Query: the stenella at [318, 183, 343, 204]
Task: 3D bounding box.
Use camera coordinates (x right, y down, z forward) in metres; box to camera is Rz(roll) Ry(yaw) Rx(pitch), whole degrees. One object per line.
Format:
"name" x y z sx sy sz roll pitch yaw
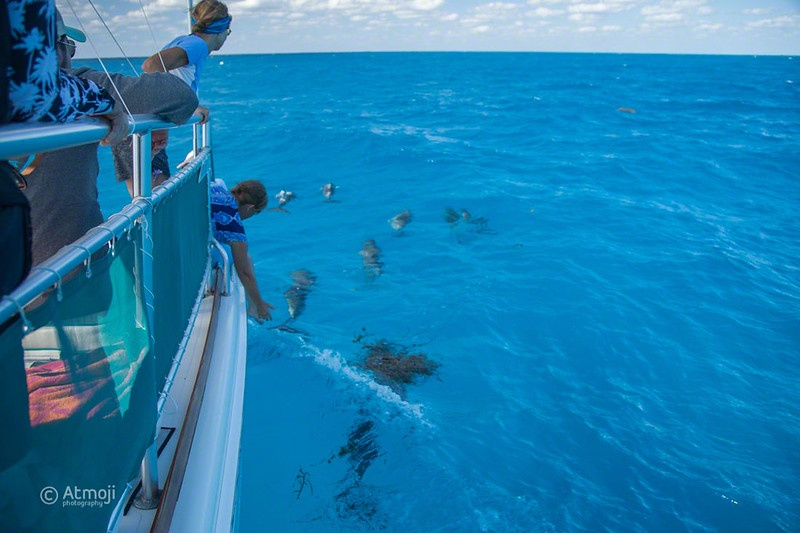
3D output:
"stenella" -2.021 -2.107 16.458 0.485 0.213 0.791 2 28 -3

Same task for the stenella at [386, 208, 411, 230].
"stenella" 0.045 -1.172 14.201 0.387 0.132 0.637 30 47 31

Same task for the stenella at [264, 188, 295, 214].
"stenella" -3.185 -1.788 15.652 0.393 0.647 0.780 -4 28 2

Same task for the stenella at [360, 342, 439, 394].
"stenella" -0.050 1.519 8.452 0.719 0.193 0.691 16 22 29

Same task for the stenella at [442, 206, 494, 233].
"stenella" 1.668 -1.187 14.551 0.630 0.276 0.924 -41 64 -9
